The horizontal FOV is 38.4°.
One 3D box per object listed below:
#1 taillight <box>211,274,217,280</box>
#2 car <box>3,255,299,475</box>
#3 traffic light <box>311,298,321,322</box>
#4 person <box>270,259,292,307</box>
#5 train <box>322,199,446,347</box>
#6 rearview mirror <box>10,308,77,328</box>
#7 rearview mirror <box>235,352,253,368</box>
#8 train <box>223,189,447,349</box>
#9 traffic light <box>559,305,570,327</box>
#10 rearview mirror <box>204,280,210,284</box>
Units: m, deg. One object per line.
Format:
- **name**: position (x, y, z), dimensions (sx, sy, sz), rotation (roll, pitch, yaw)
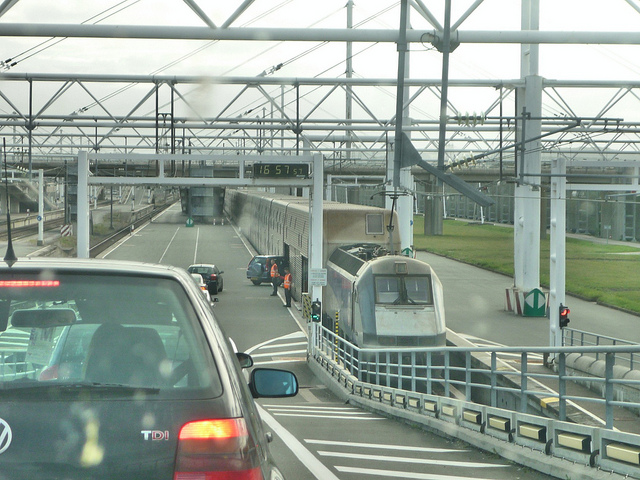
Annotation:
- **taillight**: position (-4.257, 1.428, 36.623), dimensions (0.124, 0.187, 0.179), rotation (9, 14, 11)
- **car**: position (-1.428, 0.812, 7.004), dimensions (1.215, 0.962, 1.873), rotation (1, 4, -3)
- **traffic light**: position (-0.125, 1.937, 25.835), dimensions (0.261, 0.690, 0.405), rotation (0, 5, -3)
- **person**: position (-1.662, 1.755, 38.837), dimensions (0.323, 1.477, 1.693), rotation (1, 1, -15)
- **train**: position (1.636, 1.190, 27.077), dimensions (1.834, 4.036, 7.921), rotation (-1, 2, -8)
- **rearview mirror**: position (-1.963, 0.538, 6.523), dimensions (0.465, 0.138, 0.060), rotation (1, 5, 0)
- **rearview mirror**: position (-0.724, 1.111, 8.807), dimensions (0.184, 0.199, 0.099), rotation (1, -35, -3)
- **train**: position (-0.771, 0.054, 37.311), dimensions (2.262, 3.982, 26.245), rotation (3, 7, -15)
- **traffic light**: position (6.164, 1.894, 23.389), dimensions (0.216, 0.546, 0.460), rotation (2, 5, 15)
- **rearview mirror**: position (-4.423, 1.585, 36.007), dimensions (0.165, 0.120, 0.095), rotation (-3, -8, 24)
